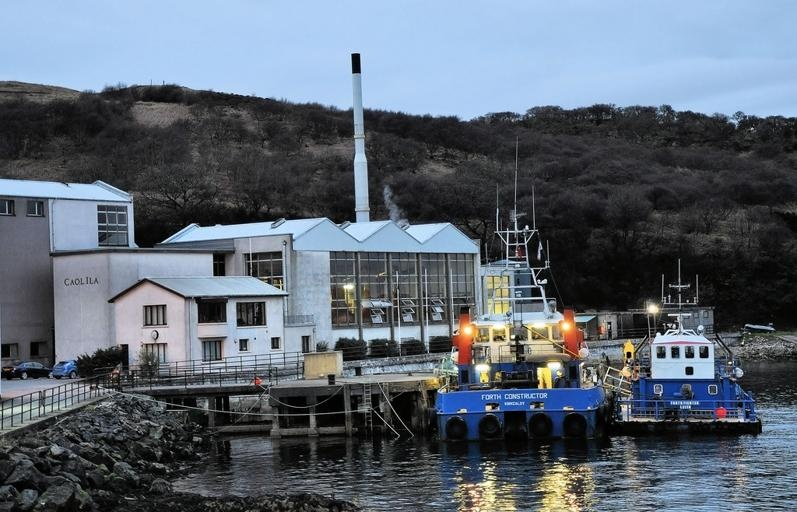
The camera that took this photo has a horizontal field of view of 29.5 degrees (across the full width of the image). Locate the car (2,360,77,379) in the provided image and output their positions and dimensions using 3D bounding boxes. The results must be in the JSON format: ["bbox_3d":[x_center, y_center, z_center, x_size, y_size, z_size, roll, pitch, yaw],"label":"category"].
[{"bbox_3d":[-33.604,10.694,142.222,6.648,1.751,2.544,-3,-5,-11],"label":"car"}]

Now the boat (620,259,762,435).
[{"bbox_3d":[24.595,7.743,130.883,10.892,12.920,20.844,-1,3,11],"label":"boat"}]
